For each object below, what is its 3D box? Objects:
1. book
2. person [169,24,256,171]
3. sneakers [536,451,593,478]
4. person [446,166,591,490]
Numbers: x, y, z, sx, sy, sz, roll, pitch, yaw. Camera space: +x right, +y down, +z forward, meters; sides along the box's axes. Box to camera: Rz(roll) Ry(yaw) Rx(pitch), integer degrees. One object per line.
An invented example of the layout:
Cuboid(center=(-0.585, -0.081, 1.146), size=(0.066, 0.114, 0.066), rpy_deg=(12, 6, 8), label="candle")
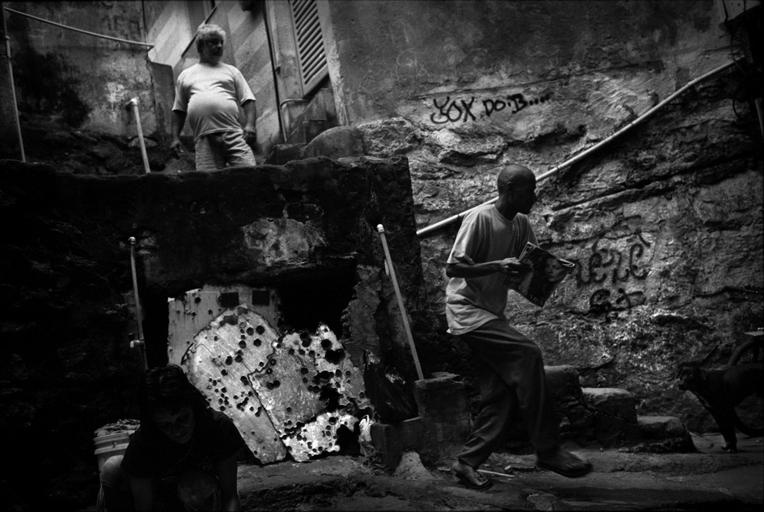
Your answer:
Cuboid(center=(1.454, 0.176, 7.573), size=(0.616, 0.601, 0.236), rpy_deg=(33, 11, -14), label="book")
Cuboid(center=(-2.008, -1.781, 9.315), size=(0.970, 1.766, 0.509), rpy_deg=(-7, -9, -1), label="person")
Cuboid(center=(1.625, 1.853, 7.130), size=(0.425, 0.161, 0.237), rpy_deg=(-4, 3, 36), label="sneakers")
Cuboid(center=(1.110, 0.632, 7.457), size=(1.128, 2.896, 0.426), rpy_deg=(-9, -9, 11), label="person")
